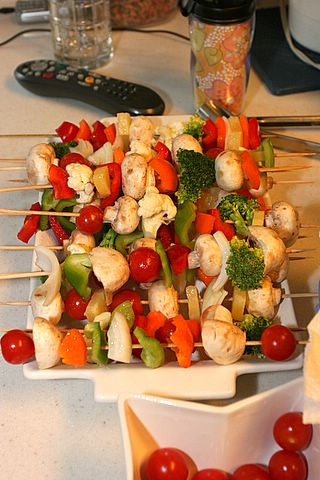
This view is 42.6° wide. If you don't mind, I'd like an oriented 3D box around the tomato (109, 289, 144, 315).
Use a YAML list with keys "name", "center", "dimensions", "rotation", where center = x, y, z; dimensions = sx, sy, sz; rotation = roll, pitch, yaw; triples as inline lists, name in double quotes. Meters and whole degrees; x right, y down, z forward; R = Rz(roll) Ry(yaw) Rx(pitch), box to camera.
- name: "tomato"
  center: [-0.080, 0.153, 1.007]
  dimensions: [0.063, 0.065, 0.074]
  rotation: [1, 81, -1]

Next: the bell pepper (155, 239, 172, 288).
- name: "bell pepper"
  center: [0.010, 0.054, 0.966]
  dimensions: [0.029, 0.128, 0.034]
  rotation: [-9, 12, 5]

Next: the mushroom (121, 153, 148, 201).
- name: "mushroom"
  center: [-0.065, -0.157, 1.013]
  dimensions: [0.053, 0.100, 0.076]
  rotation: [-4, 11, -29]

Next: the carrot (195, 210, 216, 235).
- name: "carrot"
  center: [0.116, -0.043, 1.041]
  dimensions: [0.057, 0.051, 0.033]
  rotation: [11, 10, 35]

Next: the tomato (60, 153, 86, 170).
- name: "tomato"
  center: [-0.233, -0.213, 1.091]
  dimensions: [0.049, 0.026, 0.050]
  rotation: [36, 56, 29]

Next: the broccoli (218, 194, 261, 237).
- name: "broccoli"
  center: [0.197, -0.062, 1.038]
  dimensions: [0.105, 0.093, 0.124]
  rotation: [10, 39, 12]

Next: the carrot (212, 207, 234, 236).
- name: "carrot"
  center: [0.160, -0.051, 1.024]
  dimensions: [0.013, 0.050, 0.051]
  rotation: [-35, 42, 20]

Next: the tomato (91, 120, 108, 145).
- name: "tomato"
  center: [-0.197, -0.336, 1.326]
  dimensions: [0.068, 0.032, 0.083]
  rotation: [-7, 71, -19]

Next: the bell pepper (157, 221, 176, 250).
- name: "bell pepper"
  center: [0.018, -0.009, 1.084]
  dimensions: [0.038, 0.052, 0.066]
  rotation: [-8, 73, 34]

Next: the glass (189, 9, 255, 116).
- name: "glass"
  center: [0.229, -0.661, 1.506]
  dimensions: [0.224, 0.455, 0.213]
  rotation: [8, 54, 11]

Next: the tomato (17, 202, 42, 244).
- name: "tomato"
  center: [-0.371, -0.043, 1.195]
  dimensions: [0.035, 0.115, 0.065]
  rotation: [22, 5, -25]

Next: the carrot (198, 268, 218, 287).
- name: "carrot"
  center: [0.122, 0.096, 1.054]
  dimensions: [0.042, 0.011, 0.042]
  rotation: [25, 19, -49]

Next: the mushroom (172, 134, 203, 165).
- name: "mushroom"
  center: [0.071, -0.260, 1.150]
  dimensions: [0.084, 0.045, 0.080]
  rotation: [24, 62, -24]

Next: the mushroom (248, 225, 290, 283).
- name: "mushroom"
  center: [0.243, 0.009, 0.984]
  dimensions: [0.111, 0.052, 0.084]
  rotation: [4, 56, 29]

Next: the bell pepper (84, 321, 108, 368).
- name: "bell pepper"
  center: [-0.134, 0.224, 0.879]
  dimensions: [0.025, 0.083, 0.081]
  rotation: [-12, 72, 6]

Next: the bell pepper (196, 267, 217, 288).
- name: "bell pepper"
  center: [0.114, 0.096, 1.067]
  dimensions: [0.046, 0.047, 0.018]
  rotation: [37, 86, -2]

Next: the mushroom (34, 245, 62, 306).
- name: "mushroom"
  center: [-0.269, 0.083, 0.980]
  dimensions: [0.074, 0.039, 0.146]
  rotation: [-11, 73, 12]

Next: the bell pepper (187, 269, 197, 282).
- name: "bell pepper"
  center: [0.089, 0.090, 1.081]
  dimensions: [0.029, 0.036, 0.013]
  rotation: [-4, 24, 3]

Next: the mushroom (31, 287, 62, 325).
- name: "mushroom"
  center: [-0.265, 0.147, 0.956]
  dimensions: [0.068, 0.082, 0.048]
  rotation: [3, 6, 3]

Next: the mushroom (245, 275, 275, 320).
- name: "mushroom"
  center: [0.243, 0.137, 0.983]
  dimensions: [0.042, 0.093, 0.092]
  rotation: [-4, 18, -1]

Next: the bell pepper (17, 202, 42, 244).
- name: "bell pepper"
  center: [-0.387, -0.047, 1.193]
  dimensions: [0.031, 0.118, 0.060]
  rotation: [10, 27, -38]

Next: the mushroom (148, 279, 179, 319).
- name: "mushroom"
  center: [0.003, 0.139, 1.017]
  dimensions: [0.070, 0.090, 0.048]
  rotation: [-15, 53, 19]

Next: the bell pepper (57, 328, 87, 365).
- name: "bell pepper"
  center: [-0.189, 0.226, 0.871]
  dimensions: [0.062, 0.054, 0.060]
  rotation: [0, 38, -1]

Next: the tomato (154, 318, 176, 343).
- name: "tomato"
  center: [0.013, 0.207, 0.966]
  dimensions: [0.057, 0.055, 0.025]
  rotation: [4, 3, 26]

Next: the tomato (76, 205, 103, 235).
- name: "tomato"
  center: [-0.176, -0.049, 1.028]
  dimensions: [0.067, 0.057, 0.056]
  rotation: [-6, 38, -9]

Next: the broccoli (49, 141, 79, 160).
- name: "broccoli"
  center: [-0.284, -0.276, 1.216]
  dimensions: [0.072, 0.026, 0.069]
  rotation: [-16, 37, -26]

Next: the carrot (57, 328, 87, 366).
- name: "carrot"
  center: [-0.188, 0.224, 0.867]
  dimensions: [0.070, 0.017, 0.070]
  rotation: [-38, 75, 14]

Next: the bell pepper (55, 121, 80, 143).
- name: "bell pepper"
  center: [-0.294, -0.341, 1.342]
  dimensions: [0.067, 0.028, 0.069]
  rotation: [41, 93, 19]

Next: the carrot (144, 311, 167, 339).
- name: "carrot"
  center: [-0.015, 0.194, 0.948]
  dimensions: [0.057, 0.054, 0.015]
  rotation: [-9, -1, 19]

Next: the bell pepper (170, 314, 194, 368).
- name: "bell pepper"
  center: [0.049, 0.217, 0.870]
  dimensions: [0.039, 0.068, 0.089]
  rotation: [-13, 62, 25]

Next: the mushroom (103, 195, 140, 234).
- name: "mushroom"
  center: [-0.094, -0.057, 1.037]
  dimensions: [0.087, 0.098, 0.076]
  rotation: [26, 44, 28]

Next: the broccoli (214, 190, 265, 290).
- name: "broccoli"
  center: [0.184, 0.005, 1.006]
  dimensions: [0.117, 0.080, 0.221]
  rotation: [4, 73, -14]

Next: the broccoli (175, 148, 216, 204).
- name: "broccoli"
  center: [0.082, -0.162, 1.034]
  dimensions: [0.134, 0.090, 0.118]
  rotation: [-1, 77, -12]
